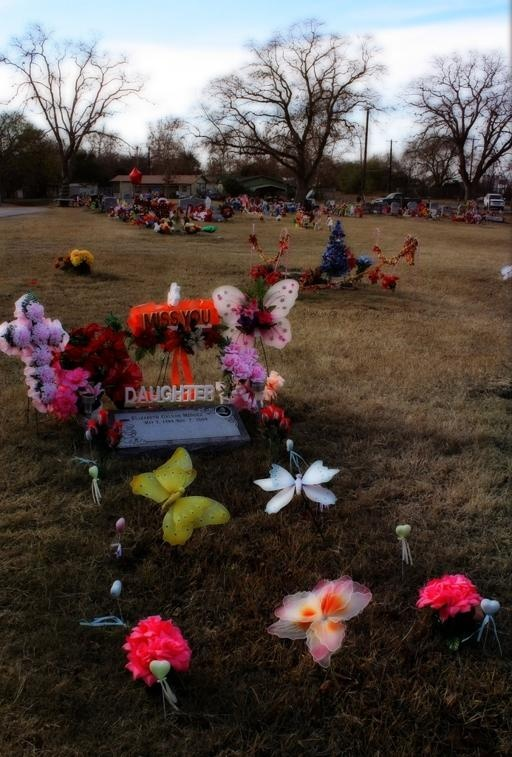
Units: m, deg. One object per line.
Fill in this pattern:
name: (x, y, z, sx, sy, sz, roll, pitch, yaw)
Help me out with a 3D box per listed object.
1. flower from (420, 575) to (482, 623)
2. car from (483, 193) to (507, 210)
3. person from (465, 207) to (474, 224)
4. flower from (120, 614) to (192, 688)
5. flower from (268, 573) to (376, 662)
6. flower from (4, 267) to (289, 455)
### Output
flower: (0.865, 0.995, 2.457, 0.256, 0.142, 0.244, 6, 14, 20)
car: (21.262, -15.645, 49.181, 1.547, 1.429, 2.765, -1, 23, 5)
person: (15.073, -11.374, 38.838, 0.539, 0.690, 0.775, 5, 13, 17)
flower: (-0.360, 1.056, 2.139, 0.316, 0.169, 0.295, -25, -7, 37)
flower: (0.226, 0.810, 1.868, 0.237, 0.204, 0.314, 11, 16, 37)
flower: (-1.073, -0.164, 5.227, 2.380, 1.552, 0.492, -5, 4, -19)
